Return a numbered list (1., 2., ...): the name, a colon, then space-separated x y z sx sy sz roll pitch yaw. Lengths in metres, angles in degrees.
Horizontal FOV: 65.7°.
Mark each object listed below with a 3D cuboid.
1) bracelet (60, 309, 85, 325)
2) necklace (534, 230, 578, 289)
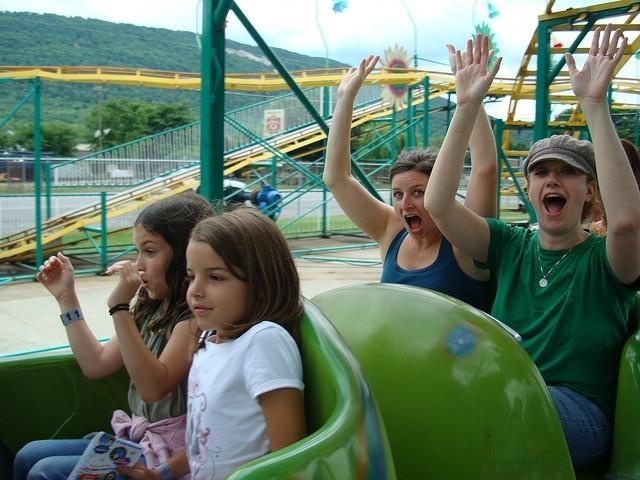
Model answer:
1. bracelet: -0.776 0.242 1.547 0.056 0.055 0.056 -13 -5 -29
2. necklace: 0.760 0.067 1.590 0.151 0.176 0.014 18 -3 23
